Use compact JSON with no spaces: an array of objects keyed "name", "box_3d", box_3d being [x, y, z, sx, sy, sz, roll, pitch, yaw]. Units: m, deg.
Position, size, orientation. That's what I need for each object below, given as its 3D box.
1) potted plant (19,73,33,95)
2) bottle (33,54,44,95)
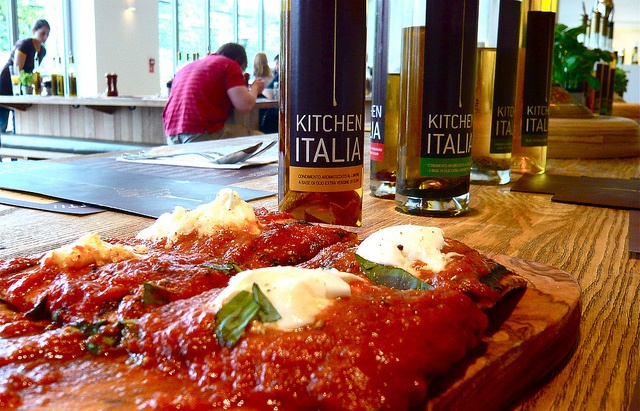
[{"name":"potted plant","box_3d":[-3.940,-1.638,5.567,0.157,0.286,0.366,-6,16,-35]},{"name":"bottle","box_3d":[-3.791,-1.643,5.542,0.116,0.307,0.264,-5,15,-32]}]
